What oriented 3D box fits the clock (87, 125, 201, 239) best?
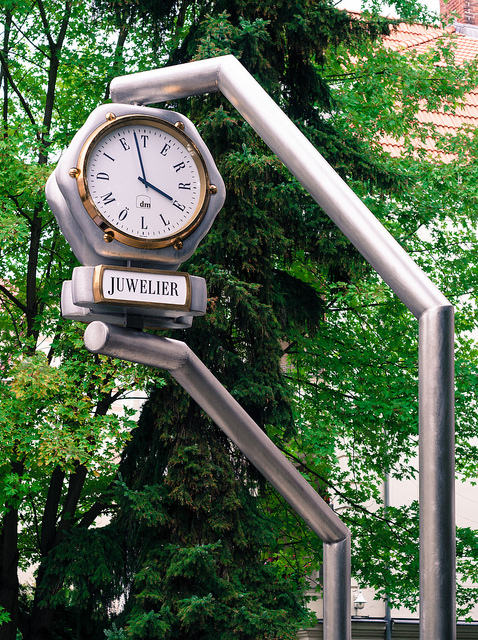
[{"bbox_3d":[-0.650,-0.884,9.420,0.717,0.693,0.044,5,-9,-15],"label":"clock"}]
